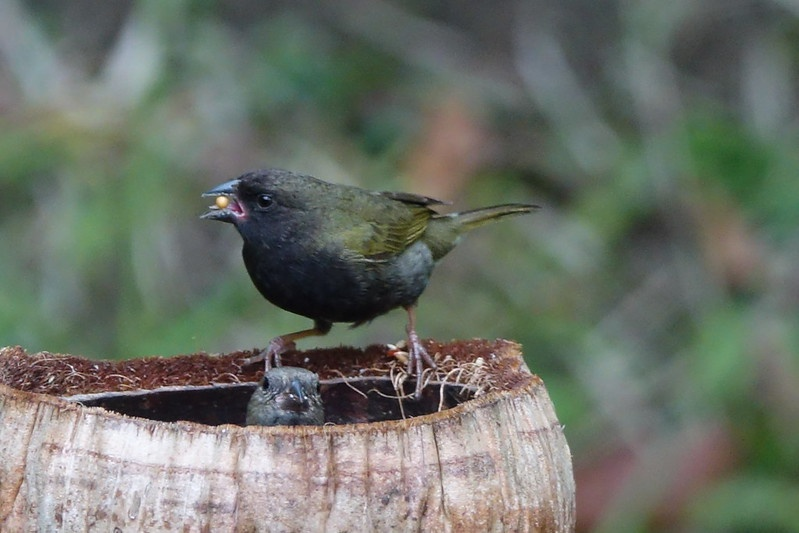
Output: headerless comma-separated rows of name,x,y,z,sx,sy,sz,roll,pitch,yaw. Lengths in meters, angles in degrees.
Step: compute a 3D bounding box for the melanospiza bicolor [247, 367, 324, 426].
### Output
melanospiza bicolor,-0.568,0.669,5.625,0.285,0.399,0.276,4,83,-8
